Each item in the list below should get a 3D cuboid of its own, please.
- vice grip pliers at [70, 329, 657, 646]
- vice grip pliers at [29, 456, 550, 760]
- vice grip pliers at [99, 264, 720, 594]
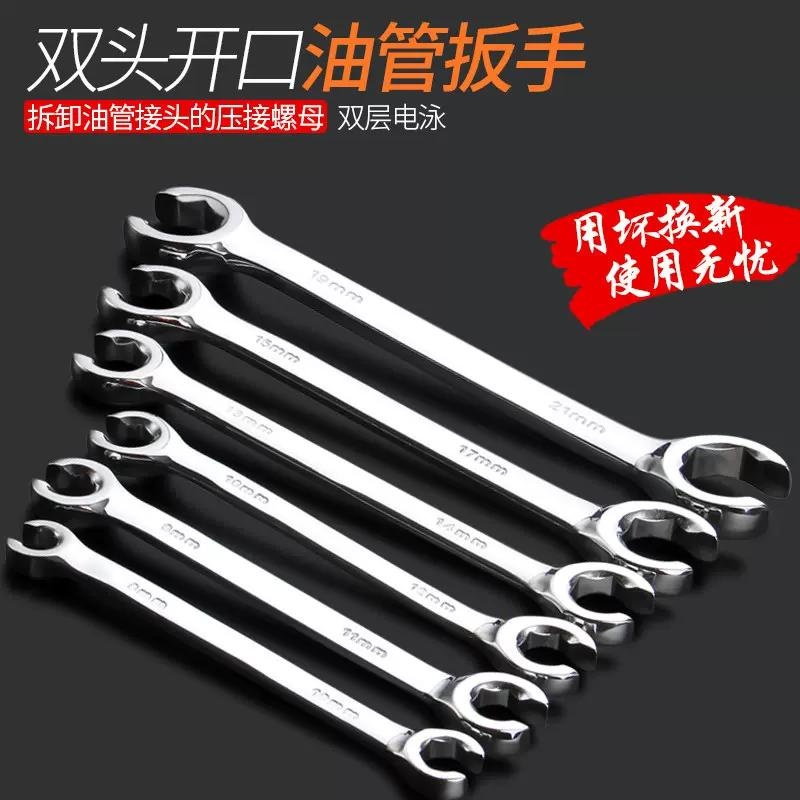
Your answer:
[{"bbox_3d":[-0.065,0.128,1.441,0.876,0.080,0.140,20,52,7],"label":"vice grip pliers"},{"bbox_3d":[-0.146,0.262,1.288,0.675,0.050,0.113,21,42,13],"label":"vice grip pliers"},{"bbox_3d":[-0.004,0.053,1.536,1.011,0.103,0.175,20,58,7],"label":"vice grip pliers"}]
